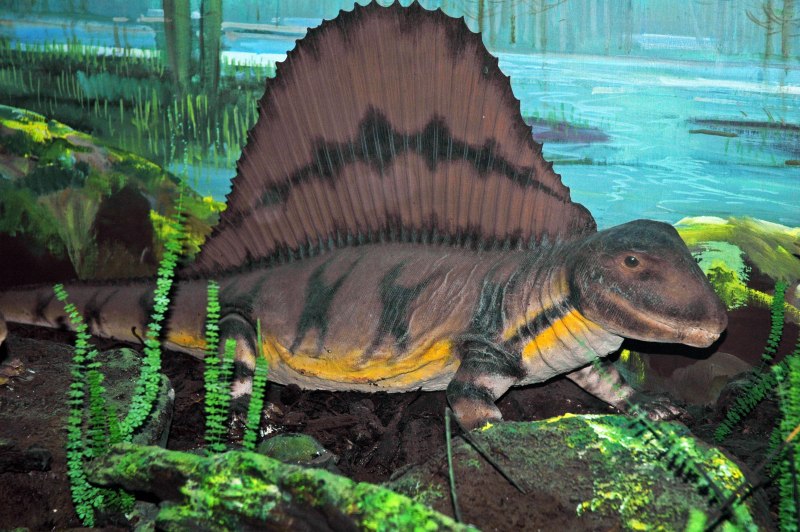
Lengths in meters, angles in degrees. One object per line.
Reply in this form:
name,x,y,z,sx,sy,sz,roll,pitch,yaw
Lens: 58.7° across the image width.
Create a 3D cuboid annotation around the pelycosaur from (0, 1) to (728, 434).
pelycosaur,-0.445,-0.430,4.583,4.395,2.149,1.717,2,11,19
